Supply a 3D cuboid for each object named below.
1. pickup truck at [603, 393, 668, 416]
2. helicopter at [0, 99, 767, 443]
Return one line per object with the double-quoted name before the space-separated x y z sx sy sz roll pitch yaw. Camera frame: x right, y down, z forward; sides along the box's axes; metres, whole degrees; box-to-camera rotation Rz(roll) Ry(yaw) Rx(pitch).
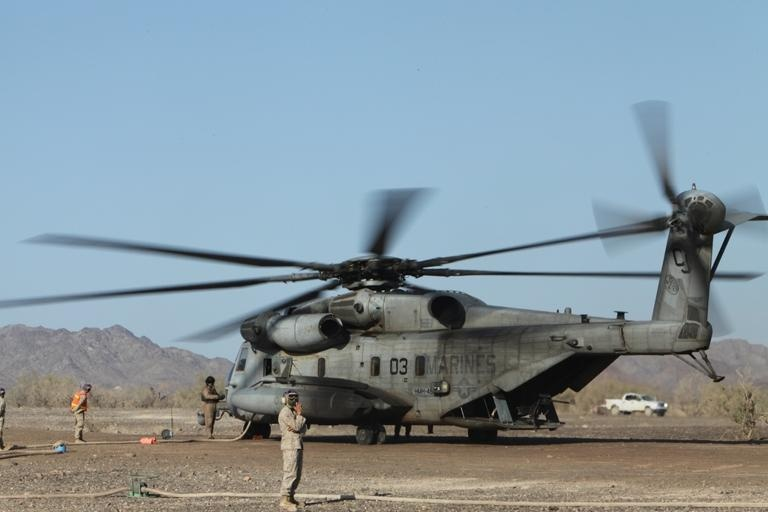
"pickup truck" 17.941 10.645 66.654 4.095 1.304 1.887 -3 -5 20
"helicopter" 1.545 1.827 32.292 17.313 9.343 9.994 -7 -10 37
